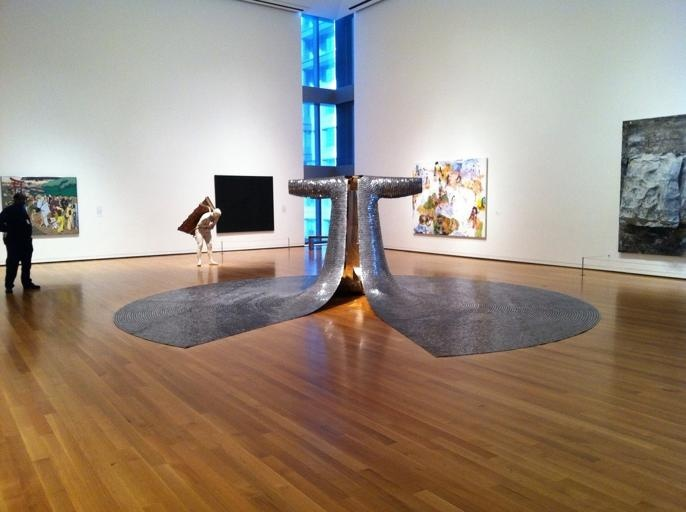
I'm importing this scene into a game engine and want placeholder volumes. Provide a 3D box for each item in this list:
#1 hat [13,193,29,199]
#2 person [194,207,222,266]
[{"bbox_3d":[-5.380,-0.986,7.481,0.218,0.055,0.218,-3,6,-34],"label":"hat"},{"bbox_3d":[-3.298,-0.507,10.810,0.536,1.270,2.169,-3,8,-18],"label":"person"}]
